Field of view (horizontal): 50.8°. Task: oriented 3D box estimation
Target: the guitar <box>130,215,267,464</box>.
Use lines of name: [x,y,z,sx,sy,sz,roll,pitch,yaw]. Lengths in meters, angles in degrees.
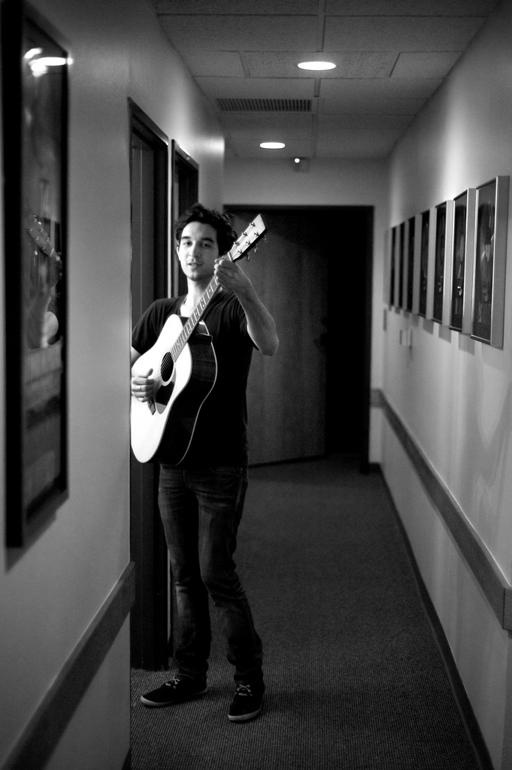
guitar: [-0.191,-0.197,1.742,0.101,0.500,0.940,0,-33,-31]
